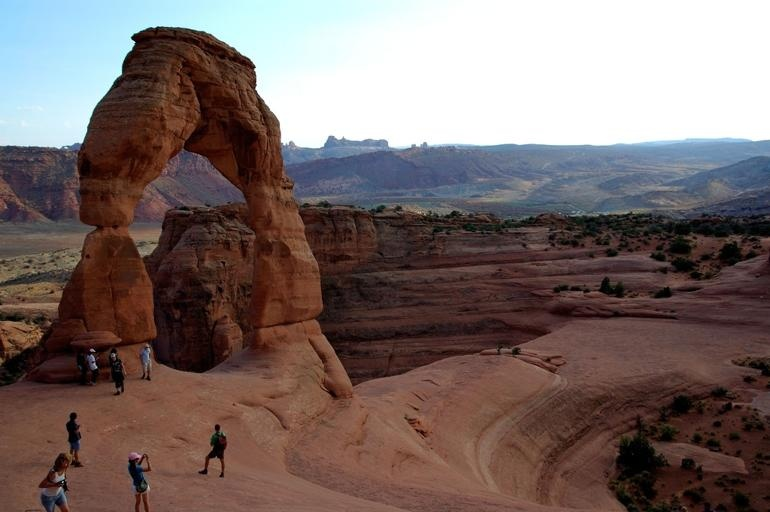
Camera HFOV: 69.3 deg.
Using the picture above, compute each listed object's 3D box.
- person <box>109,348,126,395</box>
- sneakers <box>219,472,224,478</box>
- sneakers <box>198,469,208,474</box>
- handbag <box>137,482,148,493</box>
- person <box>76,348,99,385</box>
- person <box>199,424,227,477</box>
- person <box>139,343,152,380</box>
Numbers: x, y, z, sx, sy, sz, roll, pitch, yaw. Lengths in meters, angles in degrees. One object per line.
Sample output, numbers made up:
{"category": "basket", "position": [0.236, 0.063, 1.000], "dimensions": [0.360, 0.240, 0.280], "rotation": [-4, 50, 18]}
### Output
{"category": "person", "position": [-8.383, 3.615, 17.489], "dimensions": [0.364, 1.289, 0.796], "rotation": [-7, 5, -25]}
{"category": "sneakers", "position": [-4.356, 5.842, 14.856], "dimensions": [0.107, 0.085, 0.150], "rotation": [-4, 4, -17]}
{"category": "sneakers", "position": [-4.863, 5.757, 14.901], "dimensions": [0.231, 0.126, 0.179], "rotation": [-3, 4, -15]}
{"category": "handbag", "position": [-5.750, 5.514, 13.208], "dimensions": [0.317, 0.138, 0.246], "rotation": [-2, 3, -5]}
{"category": "person", "position": [-9.413, 3.507, 17.686], "dimensions": [0.563, 1.132, 0.369], "rotation": [-5, 5, -11]}
{"category": "person", "position": [-4.776, 5.227, 15.451], "dimensions": [0.714, 1.283, 1.549], "rotation": [-5, 4, -14]}
{"category": "person", "position": [-7.871, 3.485, 18.400], "dimensions": [0.358, 1.083, 0.916], "rotation": [-6, 5, -22]}
